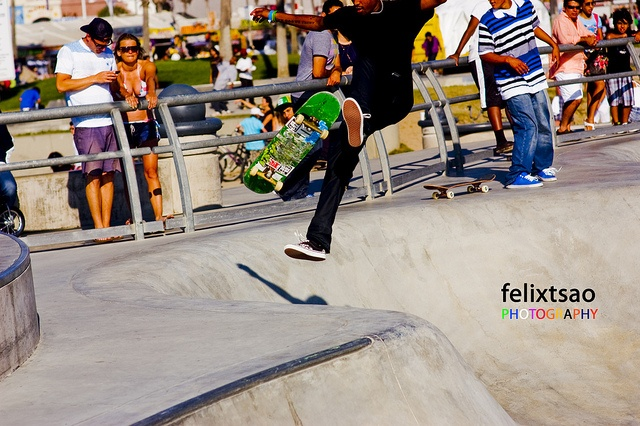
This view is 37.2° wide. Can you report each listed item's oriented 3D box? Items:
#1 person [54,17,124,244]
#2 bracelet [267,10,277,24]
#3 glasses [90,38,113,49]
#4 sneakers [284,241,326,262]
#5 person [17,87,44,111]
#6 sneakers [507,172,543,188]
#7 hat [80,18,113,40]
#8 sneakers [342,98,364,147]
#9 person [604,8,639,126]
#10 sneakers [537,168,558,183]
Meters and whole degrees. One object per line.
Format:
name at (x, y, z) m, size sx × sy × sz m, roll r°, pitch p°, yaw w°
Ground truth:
person at (-2.425, -0.882, 10.154) m, size 0.657 × 2.320 × 0.693 m, roll -7°, pitch 11°, yaw -16°
bracelet at (-0.477, -1.954, 9.476) m, size 0.095 × 0.146 × 0.129 m, roll 0°, pitch 4°, yaw 15°
glasses at (-2.328, -1.784, 10.052) m, size 0.115 × 0.034 × 0.117 m, roll -9°, pitch -13°, yaw 41°
sneakers at (-0.141, 0.365, 8.804) m, size 0.387 × 0.163 × 0.158 m, roll 12°, pitch -13°, yaw -22°
person at (-6.810, -2.638, 22.267) m, size 0.396 × 0.505 × 3.021 m, roll -7°, pitch 11°, yaw -16°
sneakers at (2.290, -0.353, 10.600) m, size 0.380 × 0.180 × 0.159 m, roll 0°, pitch 5°, yaw 21°
hat at (-2.355, -1.934, 10.011) m, size 0.306 × 0.163 × 0.205 m, roll 36°, pitch 51°, yaw 11°
sneakers at (0.317, -0.823, 8.787) m, size 0.190 × 0.460 × 0.085 m, roll -4°, pitch 10°, yaw 0°
person at (4.444, -2.103, 13.878) m, size 0.453 × 1.684 × 0.952 m, roll -1°, pitch 11°, yaw 17°
sneakers at (2.615, -0.411, 10.912) m, size 0.100 × 0.113 × 0.272 m, roll -3°, pitch 3°, yaw -23°
